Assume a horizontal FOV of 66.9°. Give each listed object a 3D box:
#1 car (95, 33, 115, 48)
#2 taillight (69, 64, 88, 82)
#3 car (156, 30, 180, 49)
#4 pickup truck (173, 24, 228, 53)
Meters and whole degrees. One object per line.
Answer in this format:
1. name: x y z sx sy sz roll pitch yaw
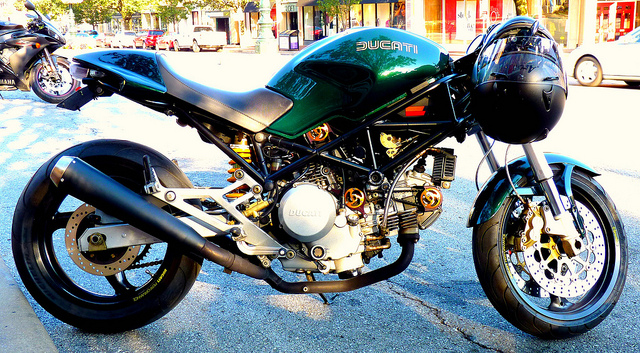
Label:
1. car: -21.887 -13.500 49.596 1.987 1.425 3.163 -6 22 -22
2. taillight: -2.185 -0.923 4.390 0.169 0.139 0.131 -5 18 -11
3. car: -13.385 -11.877 42.577 1.565 1.272 2.787 -4 19 -18
4. pickup truck: -10.435 -11.544 41.338 2.741 1.986 5.176 -13 20 -42
